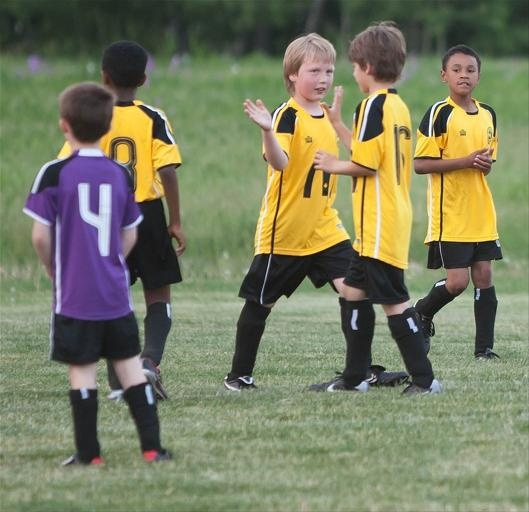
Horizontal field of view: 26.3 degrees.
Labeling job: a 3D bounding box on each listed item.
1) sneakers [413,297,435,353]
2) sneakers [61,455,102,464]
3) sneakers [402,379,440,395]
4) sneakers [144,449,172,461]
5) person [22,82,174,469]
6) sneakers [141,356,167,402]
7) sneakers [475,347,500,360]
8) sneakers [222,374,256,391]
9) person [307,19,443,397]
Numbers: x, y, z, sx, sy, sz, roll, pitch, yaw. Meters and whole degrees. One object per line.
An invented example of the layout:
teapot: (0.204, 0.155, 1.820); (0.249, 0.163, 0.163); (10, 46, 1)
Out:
sneakers: (0.877, 0.384, 6.254); (0.090, 0.293, 0.102); (-16, 14, -42)
sneakers: (-0.781, 0.868, 4.815); (0.152, 0.056, 0.066); (2, -1, 9)
sneakers: (0.756, 0.636, 5.572); (0.204, 0.109, 0.076); (-2, 5, 5)
sneakers: (-0.455, 0.853, 4.815); (0.122, 0.062, 0.049); (-3, 7, -3)
person: (-0.723, 0.072, 4.859); (0.591, 1.618, 0.435); (-1, 7, -13)
sneakers: (-0.541, 0.602, 5.557); (0.079, 0.261, 0.106); (-22, 14, -7)
sneakers: (1.252, 0.553, 6.396); (0.136, 0.073, 0.058); (-2, 9, 19)
sneakers: (-0.131, 0.654, 5.791); (0.180, 0.095, 0.066); (3, 7, -2)
person: (0.561, -0.223, 5.593); (0.622, 1.827, 0.308); (1, 7, 8)
